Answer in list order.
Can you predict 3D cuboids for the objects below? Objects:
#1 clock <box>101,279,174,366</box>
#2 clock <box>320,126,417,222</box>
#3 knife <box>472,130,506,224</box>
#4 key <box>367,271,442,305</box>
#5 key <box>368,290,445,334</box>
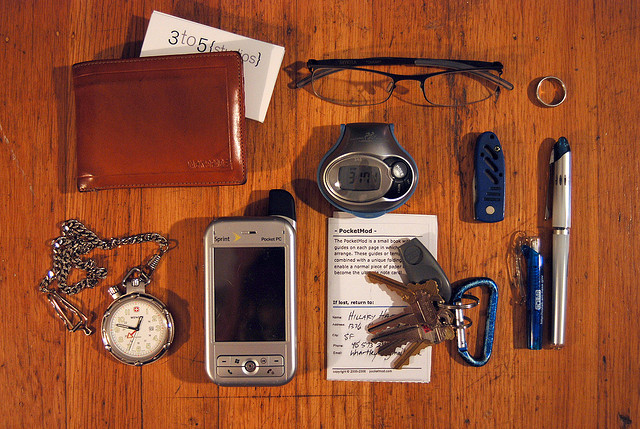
[{"bbox_3d":[-0.529,0.320,2.611,0.193,0.290,0.082,-2,-32,-19],"label":"clock"},{"bbox_3d":[0.128,-0.167,2.591,0.236,0.092,0.272,-13,-49,23],"label":"clock"},{"bbox_3d":[0.480,-0.102,2.604,0.091,0.245,0.083,-1,-14,7],"label":"knife"},{"bbox_3d":[0.237,0.201,2.565,0.198,0.096,0.033,19,5,19],"label":"key"},{"bbox_3d":[0.241,0.275,2.566,0.209,0.116,0.028,-2,-14,13],"label":"key"}]
